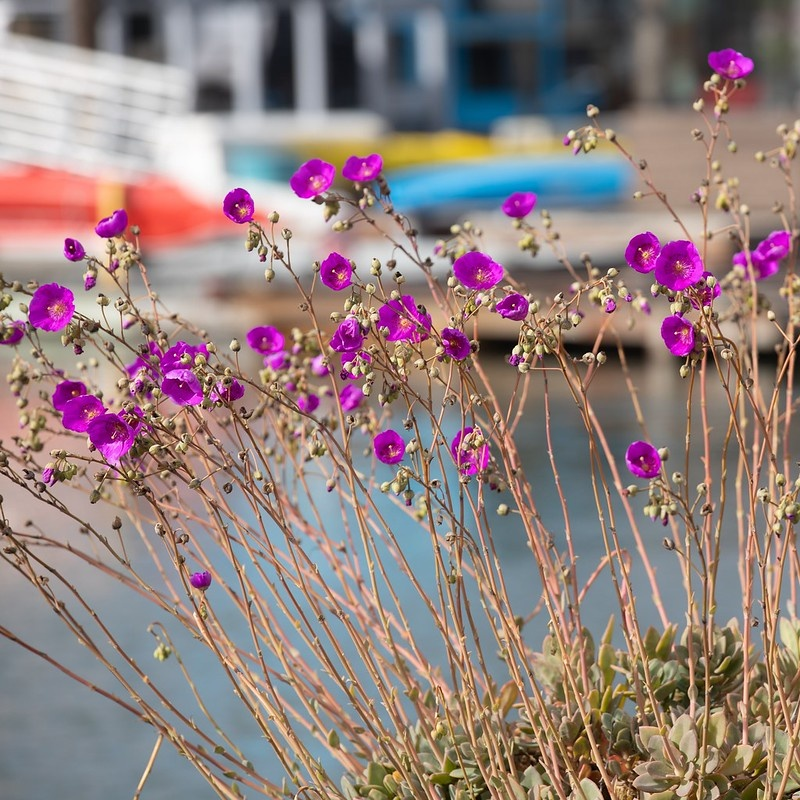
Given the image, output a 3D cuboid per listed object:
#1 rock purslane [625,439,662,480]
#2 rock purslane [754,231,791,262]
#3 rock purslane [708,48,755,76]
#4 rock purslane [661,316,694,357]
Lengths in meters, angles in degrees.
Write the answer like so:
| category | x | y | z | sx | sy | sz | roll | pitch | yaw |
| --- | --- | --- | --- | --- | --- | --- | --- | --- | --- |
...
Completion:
| category | x | y | z | sx | sy | sz | roll | pitch | yaw |
| --- | --- | --- | --- | --- | --- | --- | --- | --- | --- |
| rock purslane | 0.772 | 0.186 | 7.523 | 0.108 | 0.118 | 0.091 | 0 | 8 | 8 |
| rock purslane | 1.243 | -0.518 | 7.884 | 0.115 | 0.104 | 0.118 | 2 | 9 | 27 |
| rock purslane | 1.074 | -1.107 | 7.750 | 0.139 | 0.099 | 0.223 | -1 | 9 | 8 |
| rock purslane | 0.879 | -0.208 | 7.525 | 0.100 | 0.126 | 0.044 | -16 | 7 | 44 |
